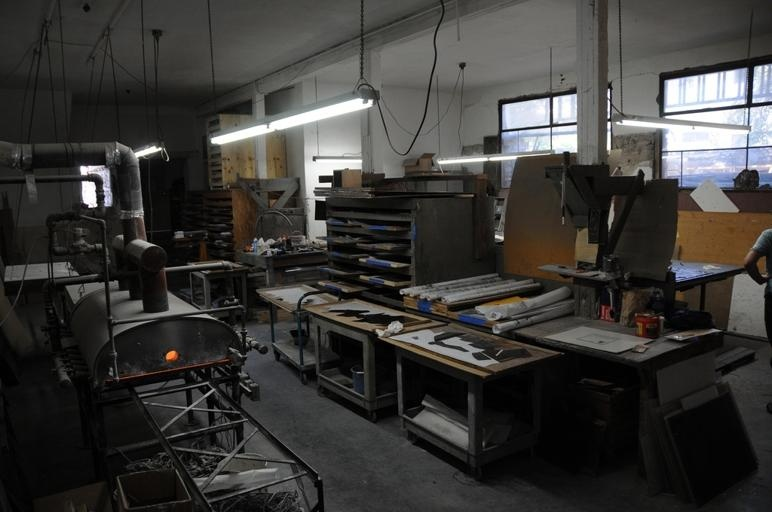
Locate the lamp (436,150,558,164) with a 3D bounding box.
[{"bbox_3d":[1.990,-1.779,10.396,1.621,0.114,0.274,1,25,39],"label":"lamp"}]

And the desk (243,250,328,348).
[{"bbox_3d":[-1.576,0.744,9.486,1.228,0.837,1.641,-4,7,-38],"label":"desk"}]

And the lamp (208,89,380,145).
[{"bbox_3d":[-1.164,-1.687,7.060,2.790,0.311,0.284,5,12,44],"label":"lamp"}]

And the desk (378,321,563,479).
[{"bbox_3d":[0.843,1.478,6.070,1.096,1.143,1.590,-8,10,-34],"label":"desk"}]

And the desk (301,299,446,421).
[{"bbox_3d":[-0.256,1.185,6.853,0.879,1.041,1.473,-8,11,-42],"label":"desk"}]

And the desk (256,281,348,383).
[{"bbox_3d":[-1.101,0.930,7.585,0.689,1.132,1.329,-6,7,-29],"label":"desk"}]

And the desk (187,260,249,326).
[{"bbox_3d":[-2.771,0.488,9.415,0.477,0.686,0.757,21,16,36],"label":"desk"}]
